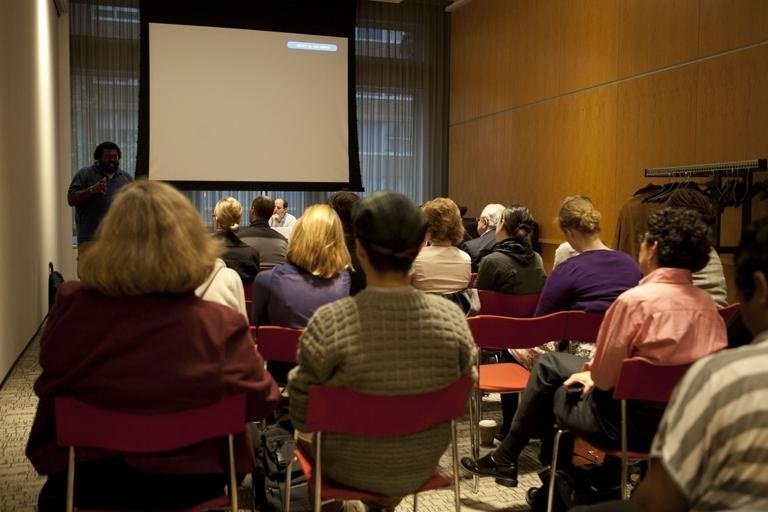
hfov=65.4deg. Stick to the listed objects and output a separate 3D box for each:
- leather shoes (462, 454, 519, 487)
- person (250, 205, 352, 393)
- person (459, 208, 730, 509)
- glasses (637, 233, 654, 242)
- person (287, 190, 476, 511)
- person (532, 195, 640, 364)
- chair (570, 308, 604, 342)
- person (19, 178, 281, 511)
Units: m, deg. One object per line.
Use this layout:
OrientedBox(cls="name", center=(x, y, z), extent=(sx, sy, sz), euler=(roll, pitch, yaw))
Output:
OrientedBox(cls="leather shoes", center=(0.622, 1.218, 3.516), extent=(0.340, 0.193, 0.157), euler=(13, -8, 27))
OrientedBox(cls="person", center=(-0.536, 0.309, 3.813), extent=(0.491, 1.443, 0.750), euler=(5, 19, -18))
OrientedBox(cls="person", center=(1.128, 0.548, 3.244), extent=(0.540, 1.680, 1.097), euler=(13, -1, -28))
OrientedBox(cls="glasses", center=(1.296, -0.092, 2.966), extent=(0.045, 0.032, 0.057), euler=(0, 2, 10))
OrientedBox(cls="person", center=(-0.016, 0.415, 2.457), extent=(0.783, 1.339, 0.331), euler=(3, 9, 11))
OrientedBox(cls="person", center=(1.268, 0.070, 4.022), extent=(0.586, 0.952, 0.724), euler=(-22, 29, -39))
OrientedBox(cls="chair", center=(1.214, 0.412, 3.642), extent=(0.179, 0.239, 0.155), euler=(1, 10, 3))
OrientedBox(cls="person", center=(-0.960, 0.313, 2.863), extent=(0.986, 1.849, 1.126), euler=(0, 9, -13))
